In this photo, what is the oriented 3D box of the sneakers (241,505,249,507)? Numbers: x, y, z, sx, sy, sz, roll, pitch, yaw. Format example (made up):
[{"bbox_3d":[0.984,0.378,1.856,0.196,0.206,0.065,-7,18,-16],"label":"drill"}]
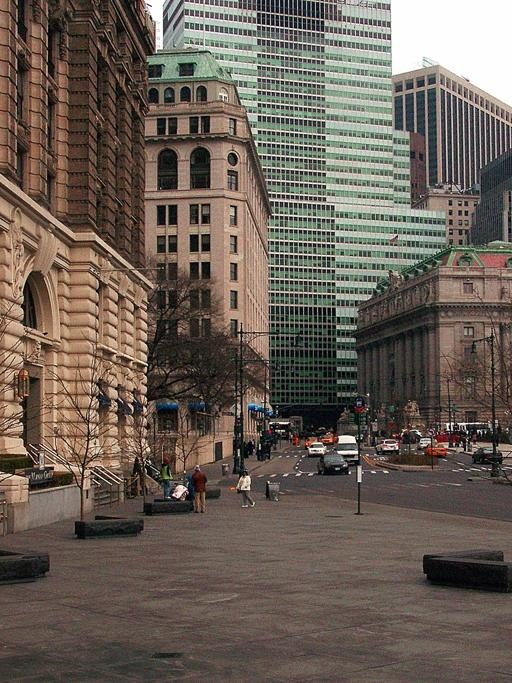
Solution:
[{"bbox_3d":[-0.323,5.095,39.862,0.061,0.085,0.183,-4,-9,27],"label":"sneakers"}]

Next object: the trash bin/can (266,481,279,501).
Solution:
[{"bbox_3d":[0.513,5.074,43.715,0.509,0.768,0.661,0,-1,9],"label":"trash bin/can"}]

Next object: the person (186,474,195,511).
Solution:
[{"bbox_3d":[-1.962,4.604,39.003,0.273,0.335,1.055,-11,31,7],"label":"person"}]
